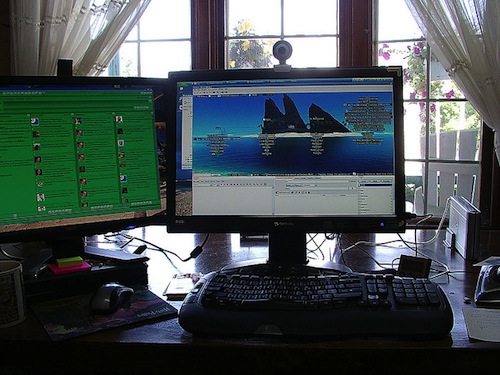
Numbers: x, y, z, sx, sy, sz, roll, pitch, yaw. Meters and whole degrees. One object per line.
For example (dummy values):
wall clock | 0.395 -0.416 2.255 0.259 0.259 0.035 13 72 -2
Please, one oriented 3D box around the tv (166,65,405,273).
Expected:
tv | 0.109 -0.071 1.266 0.738 0.602 0.167 0 -4 2

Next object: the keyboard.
keyboard | 0.171 0.301 1.141 0.693 0.089 0.322 -2 11 6
